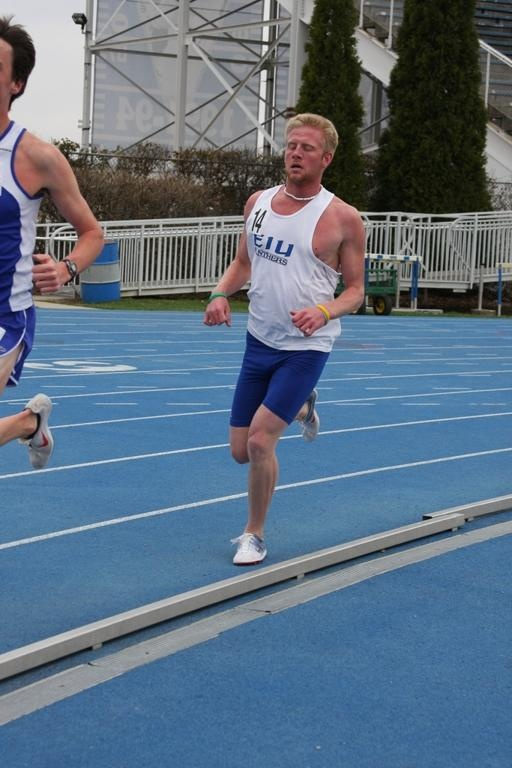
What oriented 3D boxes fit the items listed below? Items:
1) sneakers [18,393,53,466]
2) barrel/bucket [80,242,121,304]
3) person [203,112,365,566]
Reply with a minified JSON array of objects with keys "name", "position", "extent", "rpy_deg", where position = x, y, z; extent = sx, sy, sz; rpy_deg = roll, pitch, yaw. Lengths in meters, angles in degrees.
[{"name":"sneakers","position":[-0.946,0.208,3.113],"extent":[0.126,0.340,0.157],"rpy_deg":[14,25,29]},{"name":"barrel/bucket","position":[-4.199,-3.040,19.135],"extent":[1.068,1.420,1.033],"rpy_deg":[4,15,-1]},{"name":"person","position":[0.125,-0.240,3.393],"extent":[0.745,2.083,0.735],"rpy_deg":[0,3,-16]}]
